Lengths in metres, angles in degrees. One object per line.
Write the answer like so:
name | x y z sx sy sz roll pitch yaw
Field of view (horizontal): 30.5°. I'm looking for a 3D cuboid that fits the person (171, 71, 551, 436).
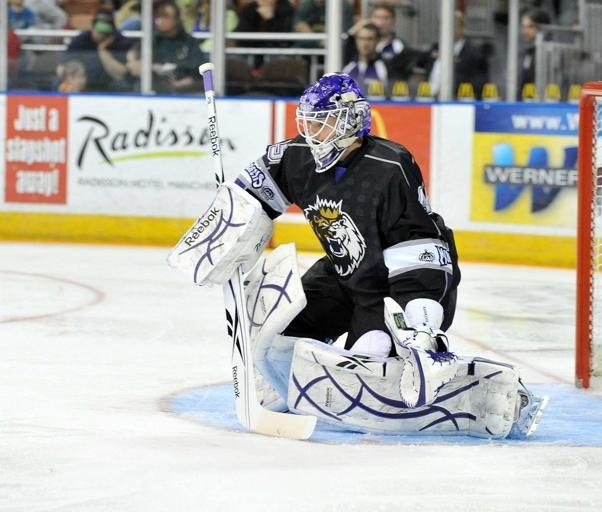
person | 0.190 0.036 3.901 1.432 1.276 0.861 11 17 42
